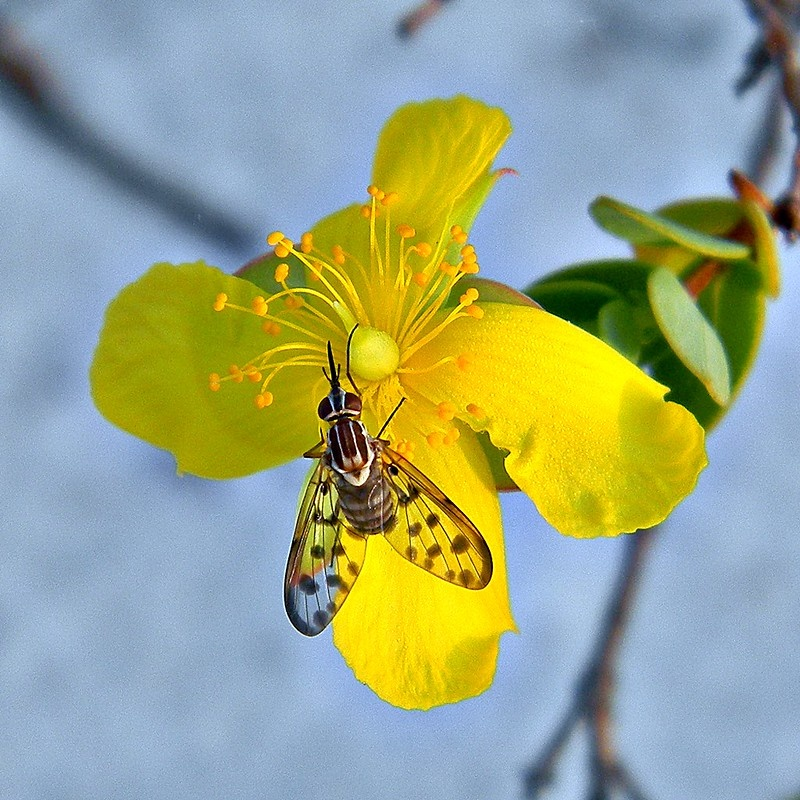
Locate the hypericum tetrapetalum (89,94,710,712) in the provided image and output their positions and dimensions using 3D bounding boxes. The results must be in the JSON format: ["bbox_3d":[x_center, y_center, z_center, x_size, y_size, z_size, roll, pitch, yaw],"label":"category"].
[{"bbox_3d":[-0.010,0.008,1.330,0.472,0.146,0.527,-38,80,-6],"label":"hypericum tetrapetalum"}]
